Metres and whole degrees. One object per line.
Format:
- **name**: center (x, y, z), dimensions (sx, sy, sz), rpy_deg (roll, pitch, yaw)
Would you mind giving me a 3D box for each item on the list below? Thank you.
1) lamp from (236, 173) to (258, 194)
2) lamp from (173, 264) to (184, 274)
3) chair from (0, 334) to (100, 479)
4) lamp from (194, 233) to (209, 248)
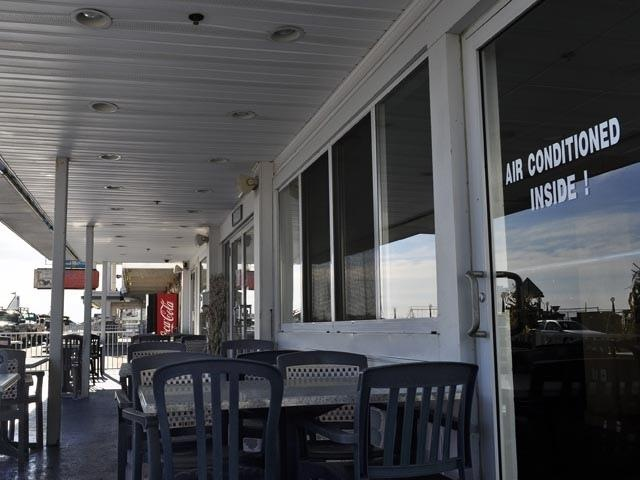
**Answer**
- **lamp**: center (-0.977, -0.777, 7.291), dimensions (0.277, 0.281, 0.209), rpy_deg (1, -12, -9)
- **lamp**: center (-4.855, 1.091, 18.325), dimensions (0.373, 0.490, 0.175), rpy_deg (-4, 10, -8)
- **chair**: center (-2.885, 1.672, 5.376), dimensions (0.934, 0.899, 0.943), rpy_deg (-1, -8, 0)
- **lamp**: center (-2.645, -0.056, 11.986), dimensions (0.268, 0.315, 0.579), rpy_deg (2, -13, -16)
